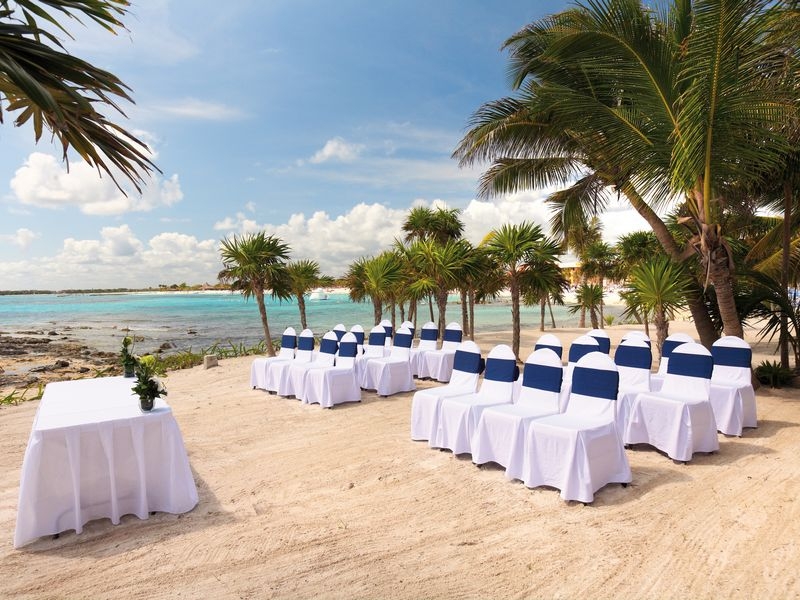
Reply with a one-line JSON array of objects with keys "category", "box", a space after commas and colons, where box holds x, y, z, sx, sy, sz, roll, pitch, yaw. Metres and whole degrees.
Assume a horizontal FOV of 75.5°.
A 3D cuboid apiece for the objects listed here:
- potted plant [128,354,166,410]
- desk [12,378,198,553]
[{"category": "potted plant", "box": [-2.991, 1.009, 6.199, 0.309, 0.620, 0.394, 3, 2, 38]}, {"category": "desk", "box": [-3.498, 1.886, 6.493, 1.882, 1.320, 1.460, -4, 10, -17]}]
